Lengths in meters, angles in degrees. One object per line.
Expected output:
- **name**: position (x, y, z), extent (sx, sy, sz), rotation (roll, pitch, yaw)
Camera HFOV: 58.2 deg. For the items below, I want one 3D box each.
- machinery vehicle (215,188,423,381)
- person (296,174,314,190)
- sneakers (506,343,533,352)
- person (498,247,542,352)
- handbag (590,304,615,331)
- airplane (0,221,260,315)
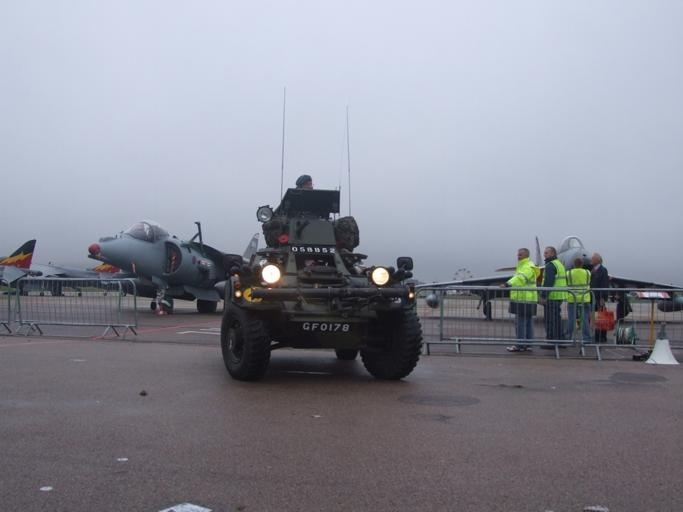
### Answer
- **machinery vehicle**: position (-0.362, 0.398, 8.807), extent (2.584, 2.610, 2.331), rotation (1, 1, -11)
- **person**: position (-0.594, -1.227, 10.130), extent (0.239, 0.273, 0.824), rotation (1, 0, -5)
- **sneakers**: position (3.661, 1.915, 12.572), extent (0.601, 0.252, 0.222), rotation (1, -3, 3)
- **person**: position (3.628, 0.919, 12.257), extent (0.583, 2.092, 1.294), rotation (1, 1, 15)
- **handbag**: position (5.029, 1.198, 11.808), extent (0.522, 0.561, 0.206), rotation (-1, -21, 7)
- **airplane**: position (-6.960, 0.407, 23.123), extent (6.117, 2.737, 6.493), rotation (0, -9, 34)
